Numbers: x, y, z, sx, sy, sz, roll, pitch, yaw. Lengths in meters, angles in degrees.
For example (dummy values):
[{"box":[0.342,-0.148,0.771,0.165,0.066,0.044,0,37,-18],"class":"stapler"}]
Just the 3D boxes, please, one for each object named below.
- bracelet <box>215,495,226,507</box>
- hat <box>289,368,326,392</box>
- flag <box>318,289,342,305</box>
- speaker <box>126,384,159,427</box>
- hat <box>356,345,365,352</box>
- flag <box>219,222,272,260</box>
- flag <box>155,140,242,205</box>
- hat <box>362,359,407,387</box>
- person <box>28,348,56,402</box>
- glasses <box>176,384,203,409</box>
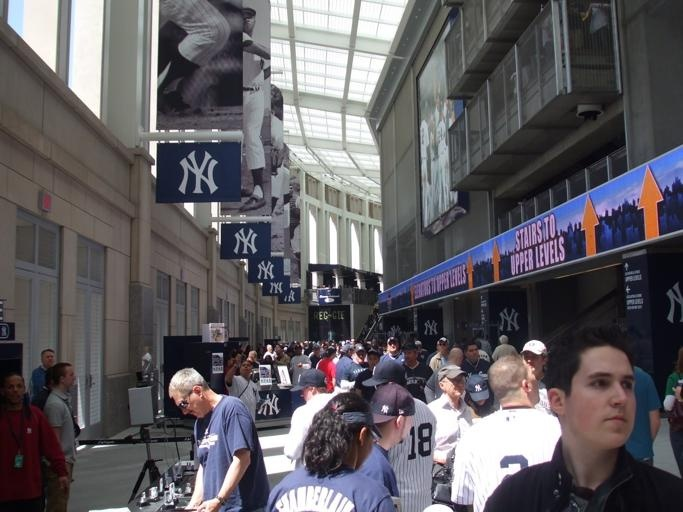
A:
[{"box":[-0.985,1.998,5.272,0.055,0.086,0.040,-7,-7,-8],"class":"bracelet"},{"box":[-0.344,1.293,6.749,0.316,0.211,0.241,-5,-11,22],"class":"hat"},{"box":[-1.103,3.683,59.624,2.172,1.498,0.986,-4,-14,4],"class":"flag"},{"box":[-3.001,2.238,9.681,0.353,0.586,0.488,4,-15,-24],"class":"speaker"},{"box":[0.416,2.113,14.628,0.178,0.179,0.312,0,-9,0],"class":"hat"},{"box":[-3.048,-0.509,20.564,1.069,0.979,0.063,-1,-12,1],"class":"flag"},{"box":[-2.878,-1.689,13.012,1.239,1.070,0.049,-1,-9,1],"class":"flag"},{"box":[0.433,1.152,6.376,0.336,0.229,0.247,0,-8,-3],"class":"hat"},{"box":[-4.262,1.702,9.160,0.208,1.038,0.336,15,13,-28],"class":"person"},{"box":[-1.287,1.212,5.479,0.048,0.176,0.166,34,-36,-11],"class":"glasses"}]
